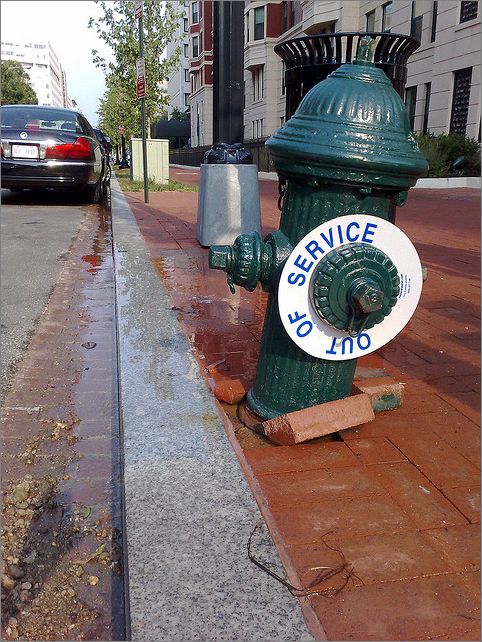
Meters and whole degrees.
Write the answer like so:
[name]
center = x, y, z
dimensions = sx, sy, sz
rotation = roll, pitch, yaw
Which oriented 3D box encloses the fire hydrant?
[fire hydrant]
center = 0.324, -0.274, 2.063
dimensions = 0.663, 1.488, 0.663
rotation = 19, 26, 41
